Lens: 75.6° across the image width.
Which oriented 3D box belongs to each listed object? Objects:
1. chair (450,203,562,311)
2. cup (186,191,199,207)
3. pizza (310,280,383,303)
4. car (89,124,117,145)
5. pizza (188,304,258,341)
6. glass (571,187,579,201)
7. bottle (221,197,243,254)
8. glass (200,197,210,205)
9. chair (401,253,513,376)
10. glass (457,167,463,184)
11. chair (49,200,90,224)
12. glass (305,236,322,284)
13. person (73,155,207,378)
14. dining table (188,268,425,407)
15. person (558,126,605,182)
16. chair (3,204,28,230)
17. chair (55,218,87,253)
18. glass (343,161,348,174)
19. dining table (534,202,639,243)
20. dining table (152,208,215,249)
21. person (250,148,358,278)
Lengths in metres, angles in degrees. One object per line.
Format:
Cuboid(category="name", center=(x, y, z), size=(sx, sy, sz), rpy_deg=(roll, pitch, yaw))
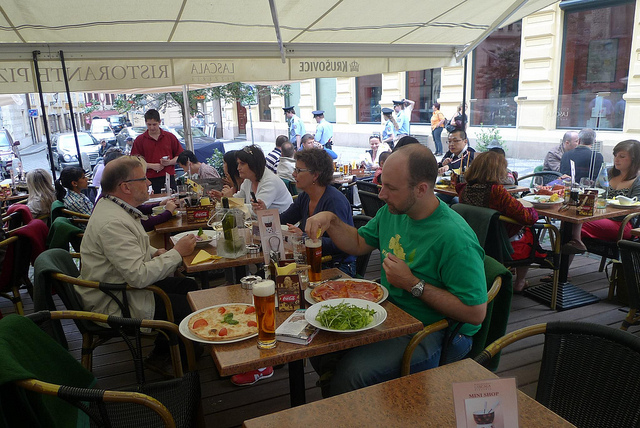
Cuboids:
Cuboid(category="chair", center=(2.320, 0.502, 4.563), size=(0.838, 0.829, 0.791), rpy_deg=(8, -4, -44))
Cuboid(category="cup", center=(-1.415, -0.159, 4.595), size=(0.165, 0.197, 0.154), rpy_deg=(3, 12, -1))
Cuboid(category="pizza", center=(0.168, 0.486, 2.593), size=(0.454, 0.066, 0.256), rpy_deg=(-4, 13, 1))
Cuboid(category="car", center=(-8.709, -3.250, 16.676), size=(0.875, 0.681, 1.768), rpy_deg=(-17, 23, -21))
Cuboid(category="pizza", center=(-0.558, 0.622, 2.360), size=(0.379, 0.055, 0.359), rpy_deg=(-8, 13, -13))
Cuboid(category="glass", center=(2.827, -0.211, 4.586), size=(0.070, 0.135, 0.126), rpy_deg=(4, 16, 32))
Cuboid(category="bottle", center=(-0.731, 0.147, 3.382), size=(0.155, 0.357, 0.115), rpy_deg=(-9, 15, -15))
Cuboid(category="glass", center=(-1.258, -0.137, 4.551), size=(0.097, 0.089, 0.067), rpy_deg=(0, -1, -11))
Cuboid(category="chair", center=(0.812, 0.633, 2.883), size=(0.737, 0.809, 0.762), rpy_deg=(-1, 12, -5))
Cuboid(category="glass", center=(2.029, -0.554, 5.988), size=(0.073, 0.137, 0.518), rpy_deg=(-1, 14, 18))
Cuboid(category="chair", center=(-2.775, -0.022, 4.600), size=(0.181, 0.235, 0.197), rpy_deg=(-12, 26, -25))
Cuboid(category="glass", center=(-0.034, 0.302, 2.640), size=(0.095, 0.294, 0.066), rpy_deg=(-6, 14, -2))
Cuboid(category="person", center=(-1.523, 0.456, 3.555), size=(1.083, 1.796, 0.954), rpy_deg=(-1, 18, -17))
Cuboid(category="dining table", center=(-0.149, 0.677, 2.503), size=(0.988, 0.894, 0.960), rpy_deg=(-5, 12, -25))
Cuboid(category="person", center=(3.948, -0.874, 6.264), size=(0.543, 0.775, 0.378), rpy_deg=(3, 16, 29))
Cuboid(category="chair", center=(-3.467, 0.043, 4.719), size=(0.307, 0.331, 0.304), rpy_deg=(7, 6, 42))
Cuboid(category="chair", center=(-2.152, 0.204, 3.529), size=(0.282, 0.256, 0.160), rpy_deg=(22, 13, 4))
Cuboid(category="glass", center=(0.471, -0.788, 7.423), size=(0.062, 0.160, 0.152), rpy_deg=(-4, 14, 7))
Cuboid(category="dining table", center=(2.780, -0.013, 4.498), size=(0.596, 0.350, 0.584), rpy_deg=(-9, 12, -34))
Cuboid(category="dining table", center=(-1.526, 0.117, 4.475), size=(0.517, 0.301, 0.486), rpy_deg=(-9, 15, -29))
Cuboid(category="person", center=(-0.068, 0.094, 3.820), size=(0.851, 1.243, 0.829), rpy_deg=(-3, 0, 37))
